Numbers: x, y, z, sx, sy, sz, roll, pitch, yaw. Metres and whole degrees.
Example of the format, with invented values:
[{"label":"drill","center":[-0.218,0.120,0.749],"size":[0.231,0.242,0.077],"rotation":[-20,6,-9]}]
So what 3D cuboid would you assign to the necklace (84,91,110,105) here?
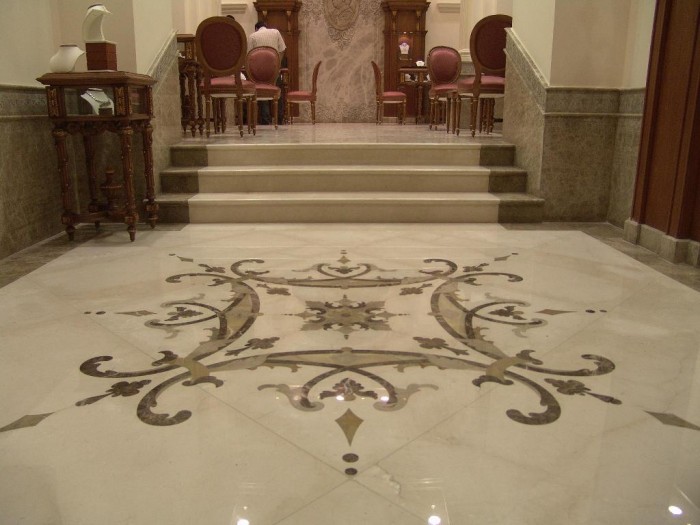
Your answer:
[{"label":"necklace","center":[-1.655,-1.069,3.374],"size":[0.121,0.041,0.104],"rotation":[-22,56,-34]}]

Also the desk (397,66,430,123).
[{"label":"desk","center":[1.224,-2.942,9.219],"size":[0.847,0.471,1.029],"rotation":[7,51,-2]}]

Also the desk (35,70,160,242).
[{"label":"desk","center":[-1.718,-0.751,3.691],"size":[0.732,1.107,0.745],"rotation":[-6,17,-14]}]

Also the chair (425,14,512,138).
[{"label":"chair","center":[1.448,-2.267,6.516],"size":[0.917,1.317,2.159],"rotation":[0,15,7]}]
